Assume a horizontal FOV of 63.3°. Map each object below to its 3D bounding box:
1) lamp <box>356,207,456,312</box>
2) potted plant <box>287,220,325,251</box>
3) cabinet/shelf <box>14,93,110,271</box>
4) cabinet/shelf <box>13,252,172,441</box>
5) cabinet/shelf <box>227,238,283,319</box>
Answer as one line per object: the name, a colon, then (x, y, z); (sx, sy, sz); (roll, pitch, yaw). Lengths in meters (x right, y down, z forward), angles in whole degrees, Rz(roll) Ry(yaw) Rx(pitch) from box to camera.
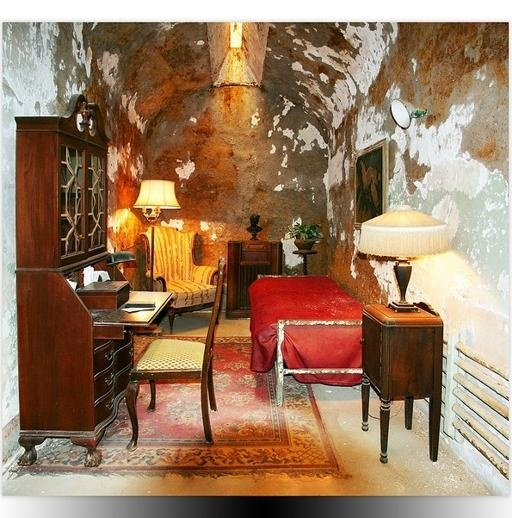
lamp: (0.896, 0.019, 2.450); (0.486, 0.636, 0.502); (-3, 4, -27)
potted plant: (0.687, -0.319, 5.801); (0.481, 0.411, 0.531); (0, 6, 5)
cabinet/shelf: (-1.064, -0.461, 2.403); (0.264, 0.965, 0.694); (1, 6, 8)
cabinet/shelf: (-0.923, 0.457, 2.702); (0.679, 1.152, 1.046); (-1, 3, -4)
cabinet/shelf: (-0.081, 0.288, 5.967); (0.869, 1.401, 0.863); (0, 1, -2)
